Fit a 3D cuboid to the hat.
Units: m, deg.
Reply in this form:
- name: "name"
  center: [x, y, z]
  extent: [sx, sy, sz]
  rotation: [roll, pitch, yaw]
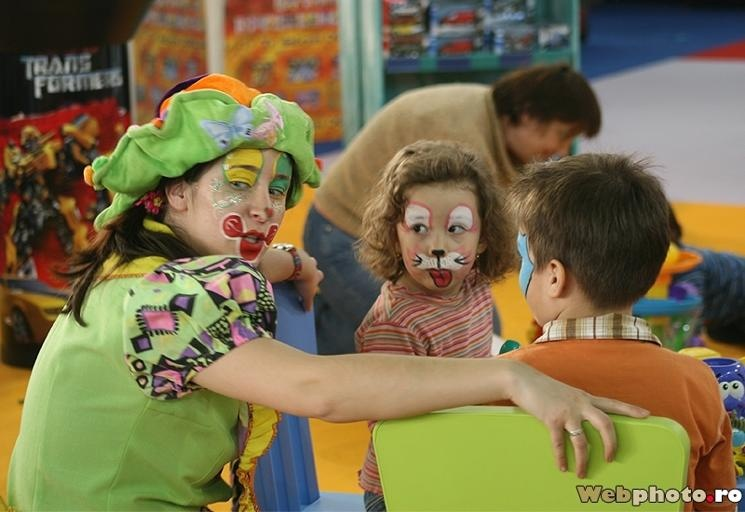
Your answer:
- name: "hat"
  center: [-0.449, -0.300, 2.679]
  extent: [0.444, 0.203, 0.470]
  rotation: [-26, -9, 12]
